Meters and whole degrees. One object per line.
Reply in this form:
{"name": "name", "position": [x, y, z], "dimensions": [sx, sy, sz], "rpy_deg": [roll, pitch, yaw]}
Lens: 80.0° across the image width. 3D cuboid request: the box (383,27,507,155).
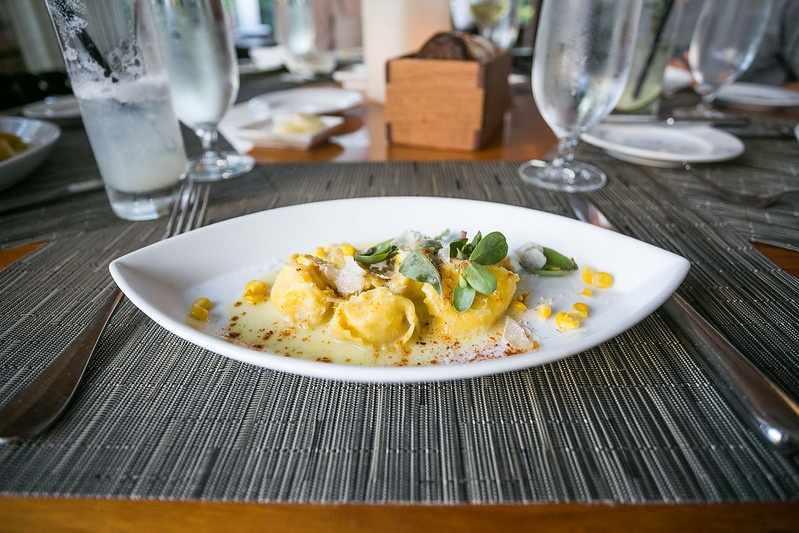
{"name": "box", "position": [0.170, -0.623, 1.848], "dimensions": [0.446, 0.405, 0.573], "rpy_deg": [6, 28, 12]}
